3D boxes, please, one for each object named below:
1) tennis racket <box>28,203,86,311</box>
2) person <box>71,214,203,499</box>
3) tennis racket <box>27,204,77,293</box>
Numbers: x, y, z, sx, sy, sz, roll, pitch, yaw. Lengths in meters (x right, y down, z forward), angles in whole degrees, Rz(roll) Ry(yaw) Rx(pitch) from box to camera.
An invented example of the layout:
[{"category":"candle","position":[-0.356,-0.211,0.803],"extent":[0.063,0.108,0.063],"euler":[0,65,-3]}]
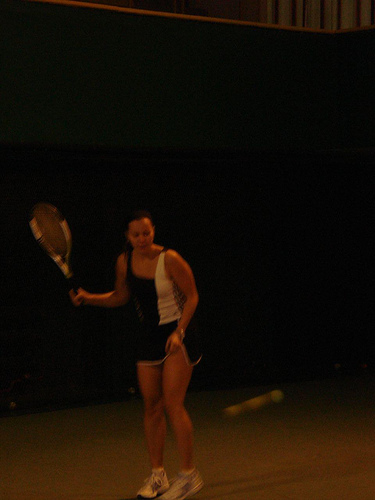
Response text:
[{"category":"tennis racket","position":[-0.569,-0.043,1.980],"extent":[0.147,0.336,0.404],"euler":[4,-7,-39]},{"category":"person","position":[-0.167,0.538,2.365],"extent":[0.489,1.311,0.962],"euler":[-1,-5,3]},{"category":"tennis racket","position":[-0.837,0.006,2.784],"extent":[0.177,0.715,0.036],"euler":[-22,-1,18]}]
